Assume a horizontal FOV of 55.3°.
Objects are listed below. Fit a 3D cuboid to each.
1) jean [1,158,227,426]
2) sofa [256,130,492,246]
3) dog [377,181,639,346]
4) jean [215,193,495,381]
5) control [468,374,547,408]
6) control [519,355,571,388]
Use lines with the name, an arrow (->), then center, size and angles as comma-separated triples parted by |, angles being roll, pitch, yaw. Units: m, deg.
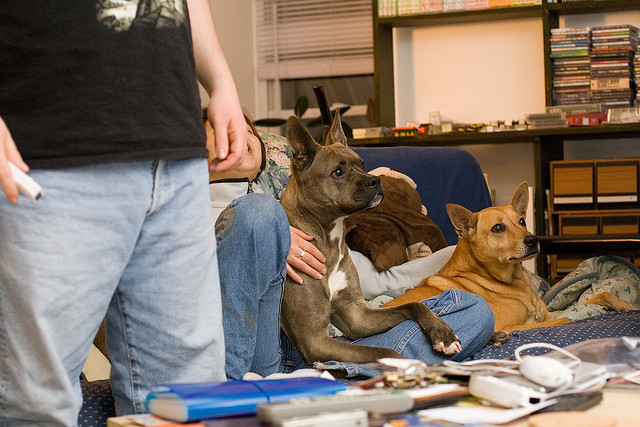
jean -> -0.470, 0.178, 1.374 | 0.477, 0.601, 0.133 | -3, 6, -27
sofa -> 0.288, -0.110, 2.841 | 0.744, 0.281, 0.741 | 7, -3, 20
dog -> 0.762, 0.243, 2.724 | 1.187, 0.626, 0.510 | -13, 2, 38
jean -> 0.084, 0.244, 1.994 | 0.831, 0.625, 0.383 | -1, 5, -11
control -> 0.338, 0.318, 1.099 | 0.070, 0.023, 0.073 | 10, -1, 0
control -> 0.412, 0.286, 1.107 | 0.066, 0.025, 0.052 | 10, -5, 44
